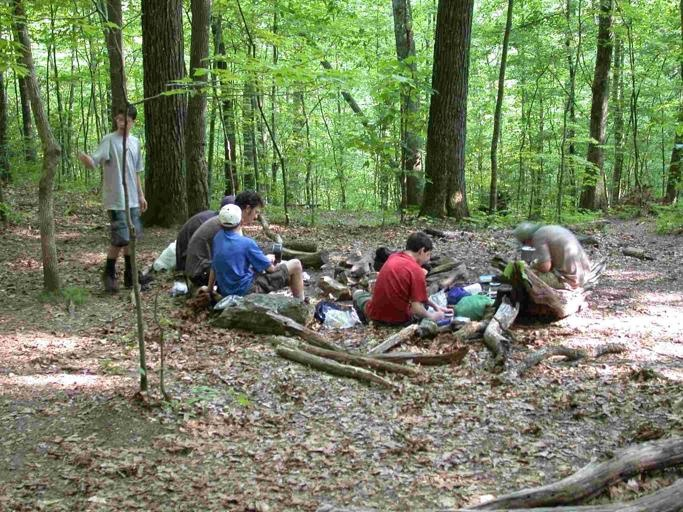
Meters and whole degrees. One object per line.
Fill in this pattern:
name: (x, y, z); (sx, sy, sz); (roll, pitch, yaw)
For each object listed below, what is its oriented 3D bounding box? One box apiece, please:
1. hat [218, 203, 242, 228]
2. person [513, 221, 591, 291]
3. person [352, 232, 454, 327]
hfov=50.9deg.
hat: (-1.629, -0.584, 10.544); (0.289, 0.191, 0.363); (-1, 44, 0)
person: (3.326, 0.029, 11.187); (1.020, 1.161, 1.056); (-6, 3, -35)
person: (0.866, 0.314, 11.156); (2.060, 1.274, 1.152); (11, 12, 42)
